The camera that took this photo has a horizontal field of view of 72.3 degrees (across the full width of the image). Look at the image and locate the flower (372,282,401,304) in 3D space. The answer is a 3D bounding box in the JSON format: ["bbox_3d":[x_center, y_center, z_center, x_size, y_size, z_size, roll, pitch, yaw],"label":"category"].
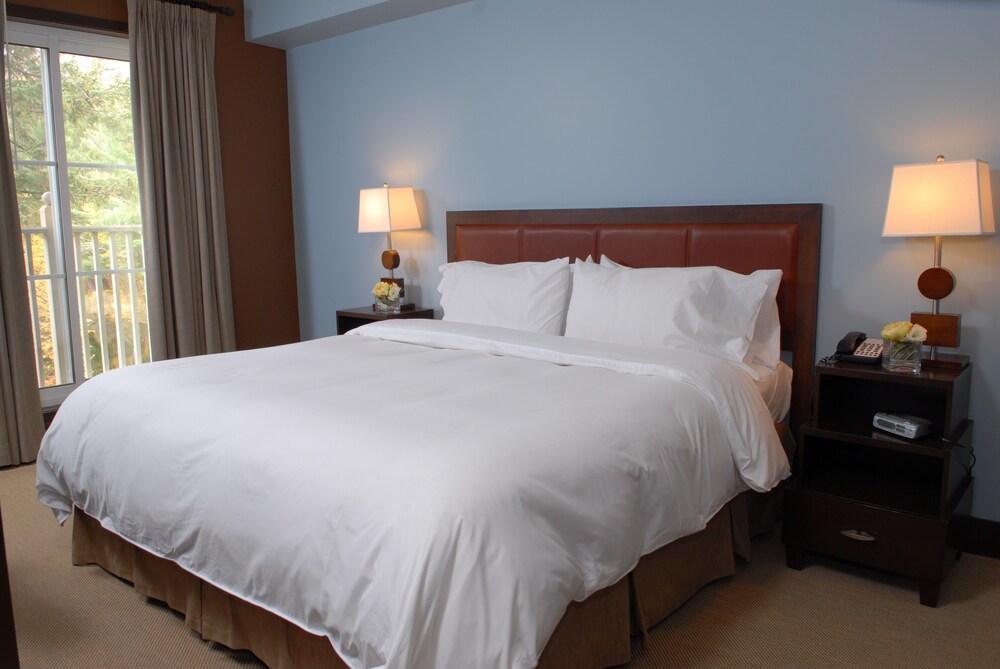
[{"bbox_3d":[-0.881,-0.338,5.376,0.161,0.154,0.168,6,10,34],"label":"flower"}]

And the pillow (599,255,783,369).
[{"bbox_3d":[1.029,-0.131,3.869,0.719,0.715,0.236,1,-18,26],"label":"pillow"}]

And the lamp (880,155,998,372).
[{"bbox_3d":[2.279,-0.395,3.569,0.506,1.021,0.365,5,13,29],"label":"lamp"}]

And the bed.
[{"bbox_3d":[-0.186,0.282,3.778,3.133,1.890,3.007,6,13,34],"label":"bed"}]

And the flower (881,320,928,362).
[{"bbox_3d":[1.999,0.033,3.381,0.206,0.225,0.182,0,0,-39],"label":"flower"}]
